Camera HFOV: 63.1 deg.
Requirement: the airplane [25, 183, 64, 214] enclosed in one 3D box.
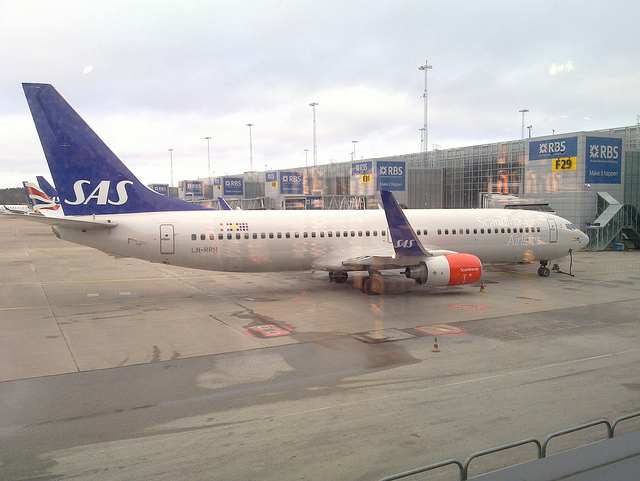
[{"bbox_3d":[-40.307,-6.033,78.167,3.855,4.330,9.525,5,5,6],"label":"airplane"}]
